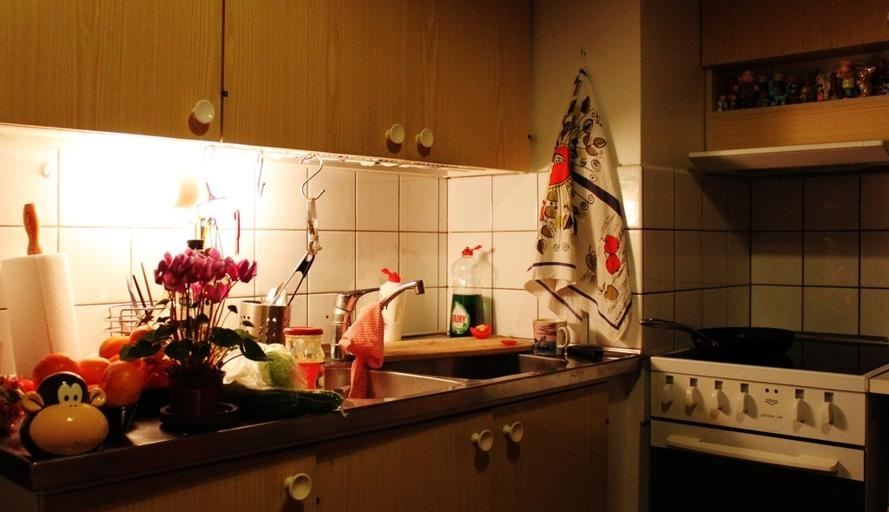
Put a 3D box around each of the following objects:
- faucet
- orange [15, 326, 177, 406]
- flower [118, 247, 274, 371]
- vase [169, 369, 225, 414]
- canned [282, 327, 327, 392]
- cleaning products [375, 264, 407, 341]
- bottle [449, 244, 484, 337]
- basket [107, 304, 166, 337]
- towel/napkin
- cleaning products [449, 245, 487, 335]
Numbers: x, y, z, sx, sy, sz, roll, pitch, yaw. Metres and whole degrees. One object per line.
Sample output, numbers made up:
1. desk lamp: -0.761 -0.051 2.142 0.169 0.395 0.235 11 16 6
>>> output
1. faucet: -0.301 0.260 2.584 0.497 0.312 0.173 -22 -20 36
2. orange: -0.950 0.267 2.044 0.460 0.232 0.459 -1 7 20
3. flower: -0.731 0.140 1.901 0.299 0.394 0.345 5 11 34
4. vase: -0.687 0.370 1.823 0.123 0.092 0.125 -1 -5 10
5. canned: -0.474 0.334 2.277 0.162 0.191 0.241 -6 12 -31
6. cleaning products: -0.240 0.210 2.865 0.087 0.352 0.092 8 0 -14
7. bottle: 0.101 0.167 3.070 0.123 0.476 0.120 -1 1 0
8. basket: -1.045 0.219 2.197 0.135 0.085 0.137 1 2 -8
9. towel/napkin: 0.556 -0.220 2.761 0.449 1.176 0.191 -2 2 7
10. cleaning products: 0.110 0.177 3.060 0.129 0.478 0.128 0 1 34
